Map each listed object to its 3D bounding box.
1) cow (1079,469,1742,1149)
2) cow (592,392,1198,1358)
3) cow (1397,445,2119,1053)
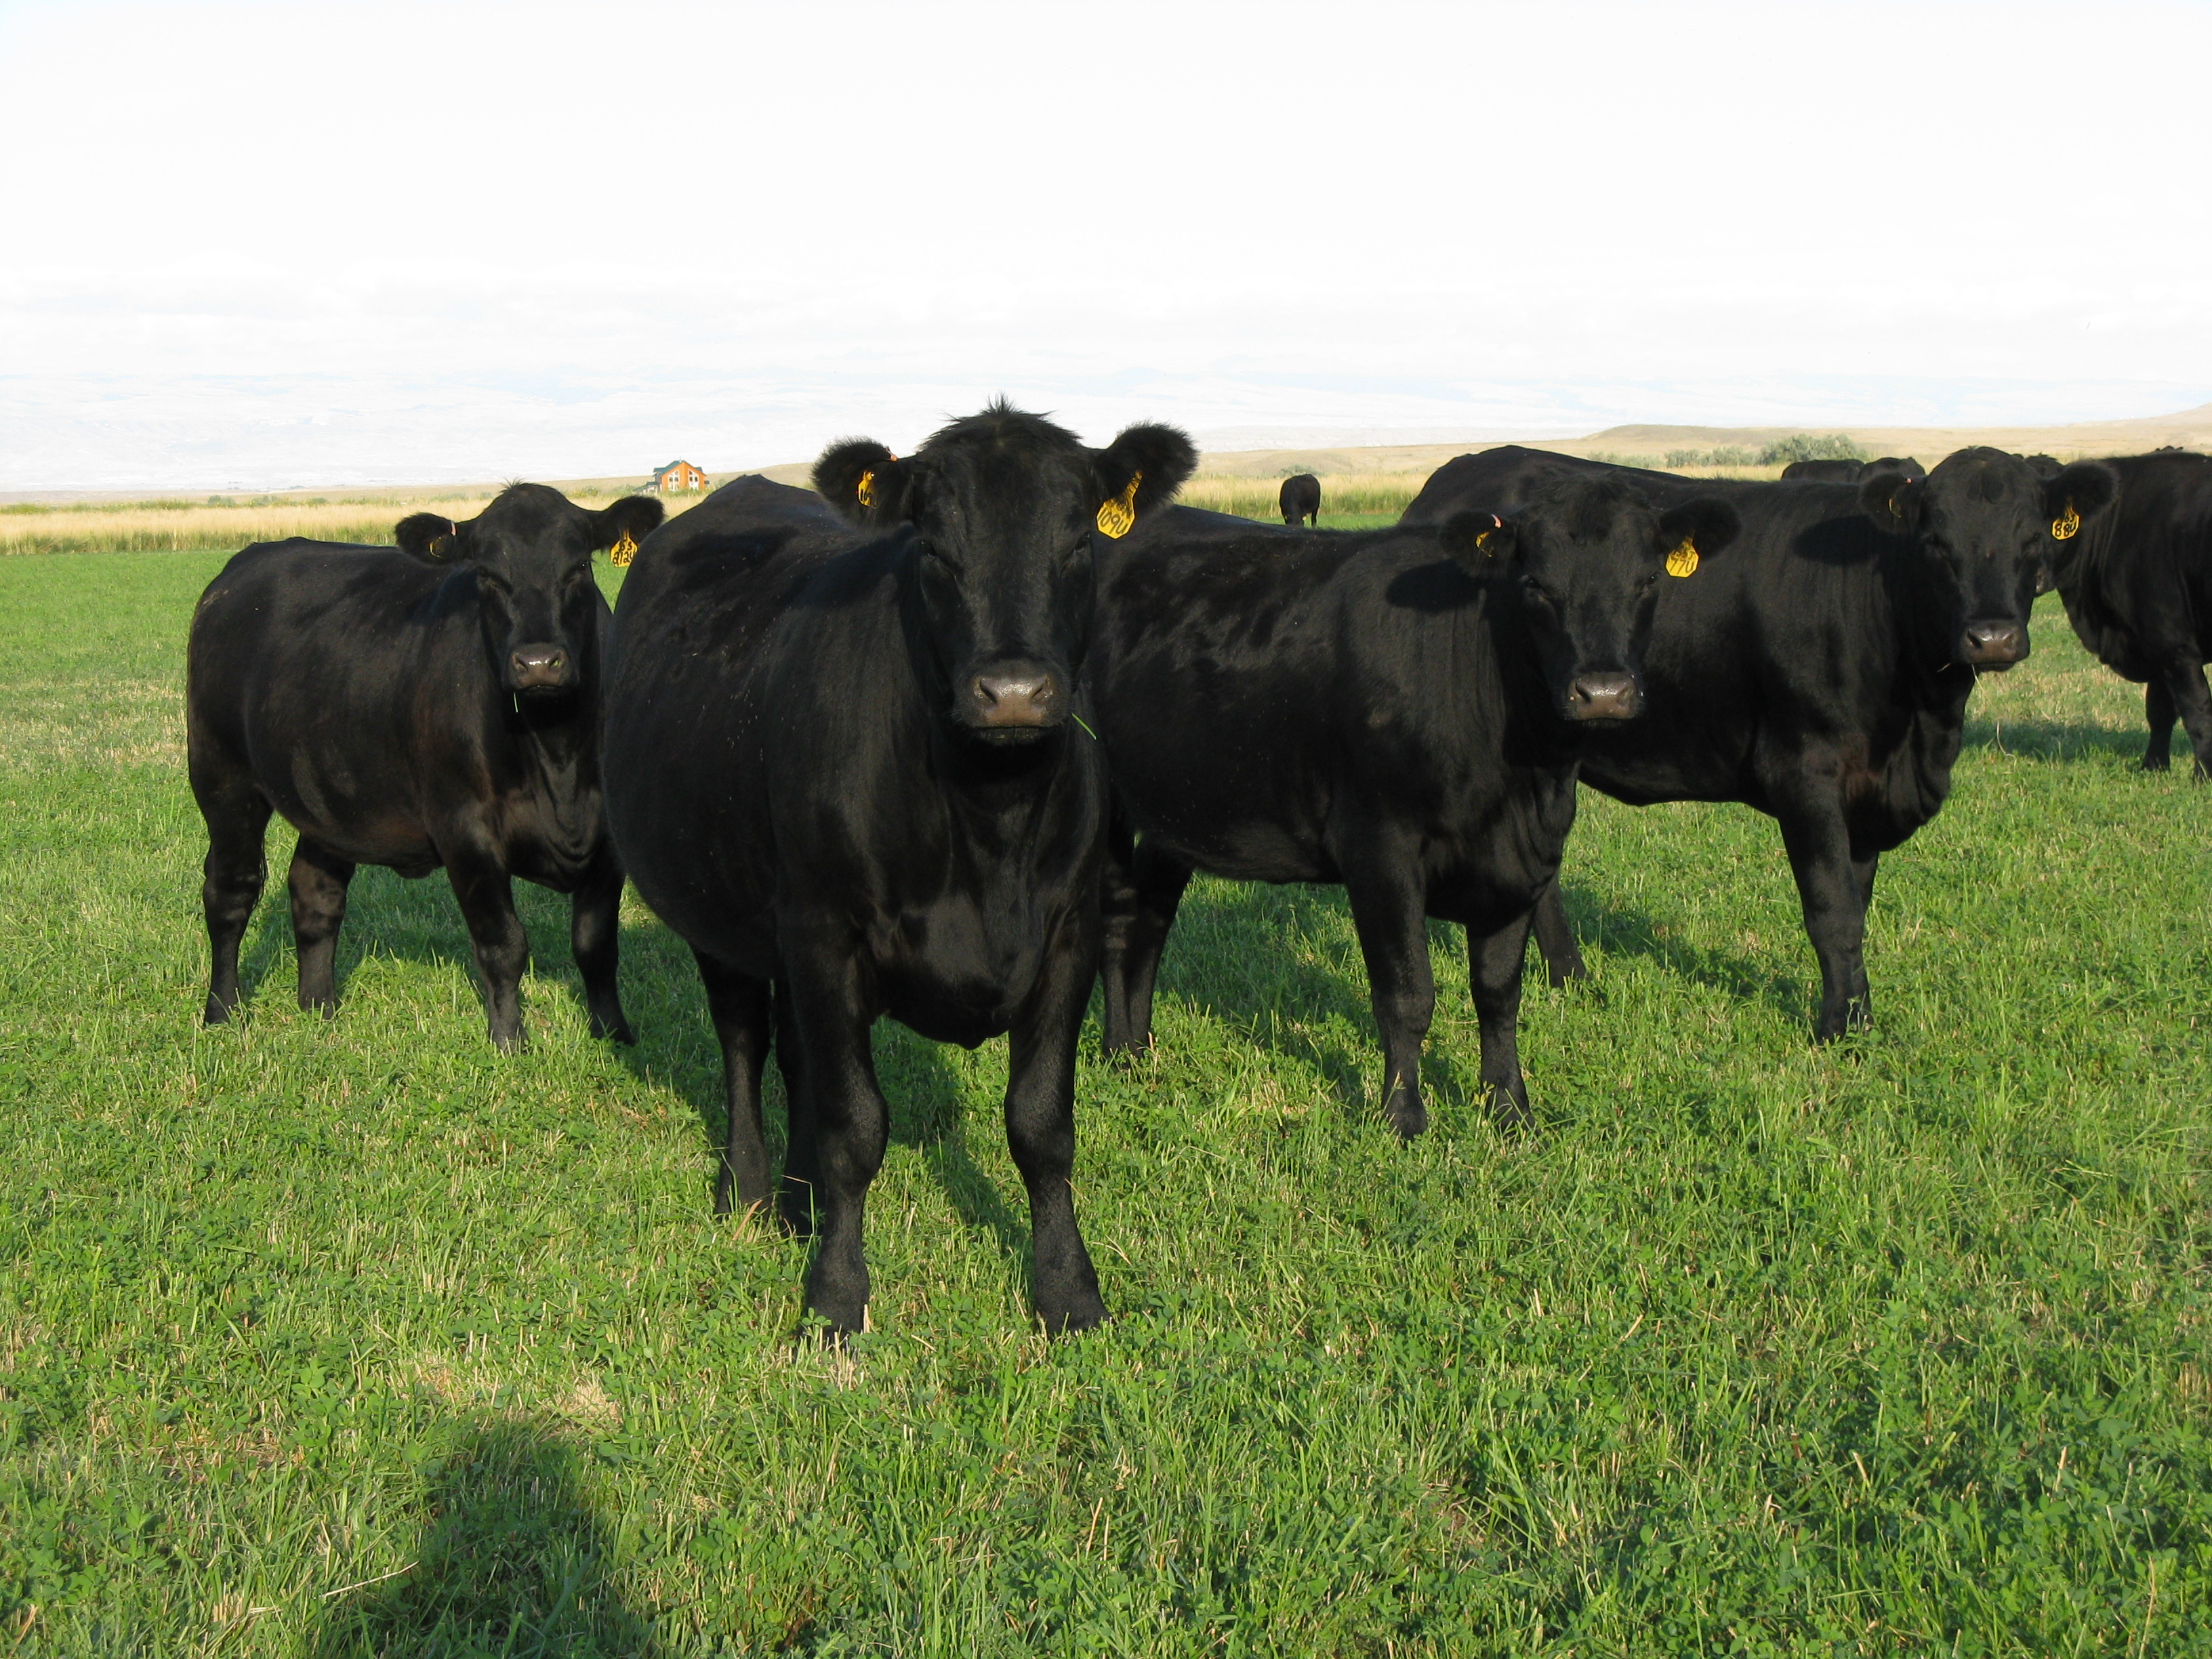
[{"bbox_3d":[1.184,-0.166,9.745,1.615,3.182,4.182,-7,11,-35],"label":"cow"},{"bbox_3d":[-0.956,-0.007,7.951,1.269,3.524,2.790,-9,20,-32],"label":"cow"},{"bbox_3d":[3.432,-0.509,11.212,1.344,3.011,4.127,-9,11,-36],"label":"cow"}]
